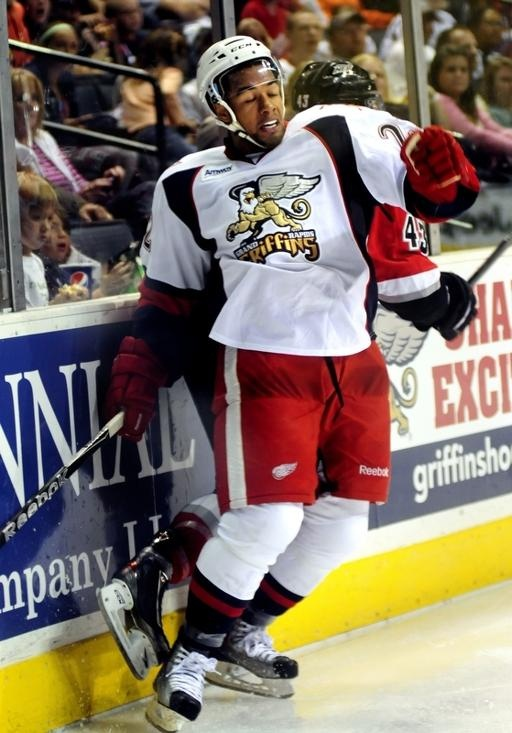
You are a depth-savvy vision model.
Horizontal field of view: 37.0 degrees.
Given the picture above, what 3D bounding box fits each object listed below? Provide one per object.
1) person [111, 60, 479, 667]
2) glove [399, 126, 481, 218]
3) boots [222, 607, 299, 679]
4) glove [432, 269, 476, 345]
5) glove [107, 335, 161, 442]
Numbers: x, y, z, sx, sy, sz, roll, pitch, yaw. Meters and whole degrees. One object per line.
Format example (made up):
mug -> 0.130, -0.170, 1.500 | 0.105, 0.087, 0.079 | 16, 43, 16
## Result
person -> 0.123, 0.021, 1.750 | 0.840, 1.196, 0.391 | -7, -2, 23
glove -> 0.373, -0.408, 1.568 | 0.148, 0.196, 0.076 | -2, 43, 20
boots -> -0.023, 0.714, 1.964 | 0.178, 0.112, 0.056 | 14, 14, 17
glove -> 0.457, -0.133, 1.750 | 0.115, 0.140, 0.068 | -2, -23, 45
glove -> -0.265, 0.053, 1.795 | 0.139, 0.217, 0.081 | 11, -17, 7
